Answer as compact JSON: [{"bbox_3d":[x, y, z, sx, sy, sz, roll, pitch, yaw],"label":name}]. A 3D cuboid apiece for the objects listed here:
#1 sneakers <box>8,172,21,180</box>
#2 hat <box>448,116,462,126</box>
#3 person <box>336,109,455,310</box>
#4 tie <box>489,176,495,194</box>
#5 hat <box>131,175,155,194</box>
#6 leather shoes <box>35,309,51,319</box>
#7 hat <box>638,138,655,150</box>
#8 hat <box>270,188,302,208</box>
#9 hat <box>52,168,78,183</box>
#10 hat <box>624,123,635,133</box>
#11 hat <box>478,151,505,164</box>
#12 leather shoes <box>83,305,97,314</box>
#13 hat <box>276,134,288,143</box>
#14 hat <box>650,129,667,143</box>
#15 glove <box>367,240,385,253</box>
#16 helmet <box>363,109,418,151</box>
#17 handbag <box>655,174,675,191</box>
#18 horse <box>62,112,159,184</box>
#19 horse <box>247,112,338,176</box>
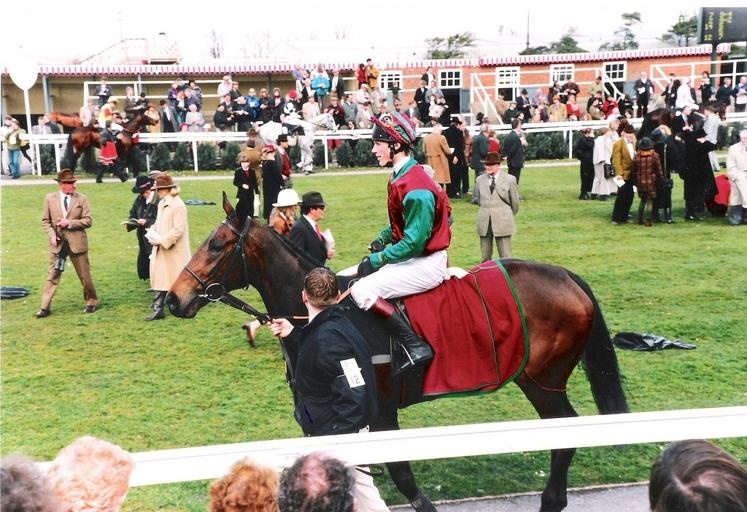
[{"bbox_3d":[-9.534,-2.154,24.824,0.247,0.158,0.398,-6,11,-20],"label":"sneakers"},{"bbox_3d":[2.070,-3.368,23.164,0.252,0.103,0.289,19,4,17],"label":"hat"},{"bbox_3d":[0.342,-0.577,11.320,1.176,2.304,0.618,-4,9,-9],"label":"person"},{"bbox_3d":[2.111,-1.273,16.593,0.074,0.263,0.066,7,-9,-43],"label":"tie"},{"bbox_3d":[-3.979,-1.232,16.177,0.286,0.136,0.332,10,43,42],"label":"hat"},{"bbox_3d":[-5.596,0.982,15.862,0.119,0.110,0.222,3,0,2],"label":"leather shoes"},{"bbox_3d":[5.683,-2.373,19.517,0.297,0.250,0.460,-1,10,8],"label":"hat"},{"bbox_3d":[-1.320,-0.933,14.675,0.390,0.187,0.403,-7,7,-28],"label":"hat"},{"bbox_3d":[-5.286,-1.361,15.877,0.379,0.158,0.356,3,11,30],"label":"hat"},{"bbox_3d":[5.520,-2.784,20.204,0.155,0.183,0.216,-1,-2,4],"label":"hat"},{"bbox_3d":[2.153,-1.765,16.877,0.432,0.203,0.510,0,11,5],"label":"hat"},{"bbox_3d":[-4.848,0.914,16.061,0.096,0.101,0.249,1,2,2],"label":"leather shoes"},{"bbox_3d":[-1.990,-2.562,20.289,0.214,0.066,0.202,-19,9,-33],"label":"hat"},{"bbox_3d":[6.052,-2.571,19.885,0.271,0.260,0.387,1,10,16],"label":"hat"},{"bbox_3d":[0.010,-0.114,11.542,0.218,0.135,0.234,-1,29,-18],"label":"glove"},{"bbox_3d":[0.247,-1.561,11.559,0.497,0.385,0.375,16,2,-4],"label":"helmet"},{"bbox_3d":[6.143,-1.626,19.694,0.479,0.487,0.247,-8,10,-35],"label":"handbag"},{"bbox_3d":[-6.856,-2.904,24.482,2.474,1.936,0.611,-3,5,1],"label":"horse"},{"bbox_3d":[-2.088,-3.124,25.869,0.721,1.612,2.697,3,11,31],"label":"horse"}]
